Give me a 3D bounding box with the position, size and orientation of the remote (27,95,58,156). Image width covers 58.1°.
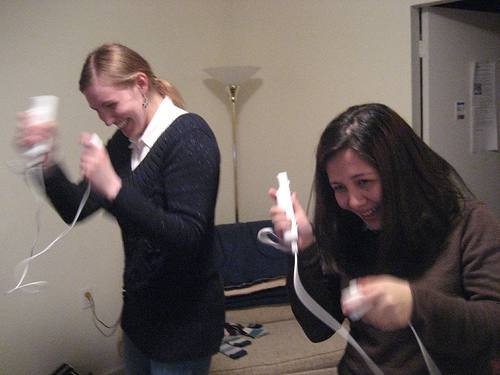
[{"bbox_3d":[-0.553,-0.149,1.188,0.072,0.063,0.245,-11,49,-10],"label":"remote"}]

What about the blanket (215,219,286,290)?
[{"bbox_3d":[0.007,0.291,2.053,0.281,0.227,0.274,-10,15,-1],"label":"blanket"}]

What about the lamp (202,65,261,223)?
[{"bbox_3d":[-0.038,-0.238,2.401,0.295,0.833,0.239,-10,15,-3],"label":"lamp"}]

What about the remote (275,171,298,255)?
[{"bbox_3d":[0.076,0.059,1.085,0.044,0.198,0.053,-6,-8,-5],"label":"remote"}]
